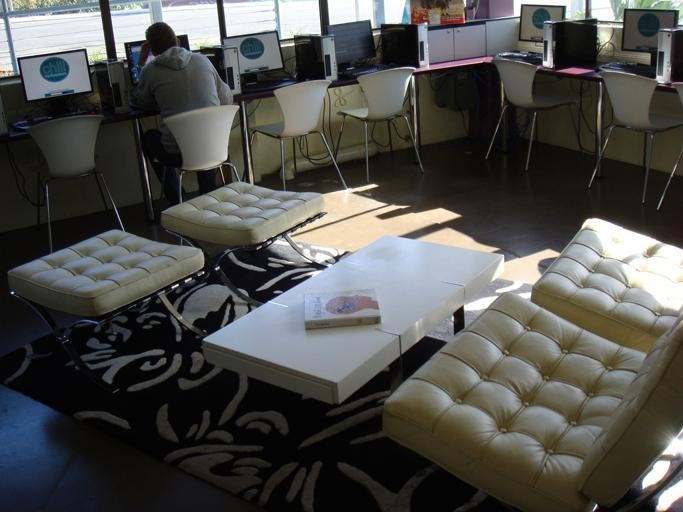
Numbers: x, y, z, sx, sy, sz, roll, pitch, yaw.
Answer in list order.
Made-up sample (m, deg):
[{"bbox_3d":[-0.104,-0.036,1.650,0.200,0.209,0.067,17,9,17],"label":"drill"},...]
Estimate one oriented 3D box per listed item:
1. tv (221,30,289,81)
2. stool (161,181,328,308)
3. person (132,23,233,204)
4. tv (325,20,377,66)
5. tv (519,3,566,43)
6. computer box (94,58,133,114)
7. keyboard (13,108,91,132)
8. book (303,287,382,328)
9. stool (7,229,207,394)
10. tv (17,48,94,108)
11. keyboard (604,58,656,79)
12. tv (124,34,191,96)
[{"bbox_3d":[-0.844,-1.909,4.992,0.743,0.548,0.309,-7,-9,-26],"label":"tv"},{"bbox_3d":[-0.610,-0.134,3.421,0.822,0.482,0.868,7,24,21],"label":"stool"},{"bbox_3d":[-1.279,-1.137,4.315,0.743,1.463,0.962,-22,32,-34],"label":"person"},{"bbox_3d":[0.081,-2.223,5.458,0.532,0.405,0.112,-17,21,-20],"label":"tv"},{"bbox_3d":[2.055,-2.383,5.310,0.192,0.502,0.544,-21,28,-37],"label":"tv"},{"bbox_3d":[-2.007,-1.433,4.411,0.313,0.409,0.255,-1,28,-7],"label":"computer box"},{"bbox_3d":[-2.249,-1.042,4.001,0.126,0.072,0.404,33,48,27],"label":"keyboard"},{"bbox_3d":[0.001,0.227,2.273,0.328,0.055,0.233,-2,27,1],"label":"book"},{"bbox_3d":[-1.296,0.363,2.947,0.829,0.536,0.843,25,43,33],"label":"stool"},{"bbox_3d":[-2.393,-1.469,4.353,0.502,0.349,0.050,-21,21,-24],"label":"tv"},{"bbox_3d":[2.522,-1.652,4.594,0.437,0.054,0.629,10,30,24],"label":"keyboard"},{"bbox_3d":[-1.590,-1.689,4.664,0.550,0.411,0.298,0,14,13],"label":"tv"}]
